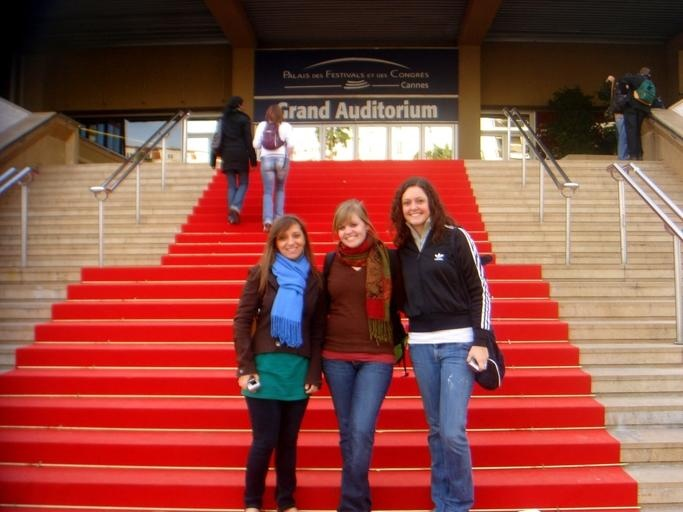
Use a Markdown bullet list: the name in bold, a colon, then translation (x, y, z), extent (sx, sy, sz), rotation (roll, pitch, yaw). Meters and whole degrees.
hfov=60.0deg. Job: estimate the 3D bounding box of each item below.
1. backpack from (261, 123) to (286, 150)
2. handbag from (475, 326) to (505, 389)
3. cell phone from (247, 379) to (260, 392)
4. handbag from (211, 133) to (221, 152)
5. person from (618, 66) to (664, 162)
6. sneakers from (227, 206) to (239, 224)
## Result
- **backpack**: translation (-1.046, -1.806, 8.976), extent (0.364, 0.366, 0.206), rotation (-2, -25, 3)
- **handbag**: translation (1.336, 0.875, 5.134), extent (0.176, 0.453, 0.305), rotation (-9, 18, -32)
- **cell phone**: translation (-0.775, 1.143, 5.210), extent (0.117, 0.136, 0.057), rotation (0, 9, -10)
- **handbag**: translation (-1.994, -1.800, 9.315), extent (0.070, 0.237, 0.169), rotation (13, -4, -31)
- **person**: translation (5.644, -2.661, 11.256), extent (0.547, 1.615, 0.691), rotation (2, 9, 3)
- **sneakers**: translation (-1.636, -0.628, 8.912), extent (0.105, 0.263, 0.112), rotation (0, 12, -5)
